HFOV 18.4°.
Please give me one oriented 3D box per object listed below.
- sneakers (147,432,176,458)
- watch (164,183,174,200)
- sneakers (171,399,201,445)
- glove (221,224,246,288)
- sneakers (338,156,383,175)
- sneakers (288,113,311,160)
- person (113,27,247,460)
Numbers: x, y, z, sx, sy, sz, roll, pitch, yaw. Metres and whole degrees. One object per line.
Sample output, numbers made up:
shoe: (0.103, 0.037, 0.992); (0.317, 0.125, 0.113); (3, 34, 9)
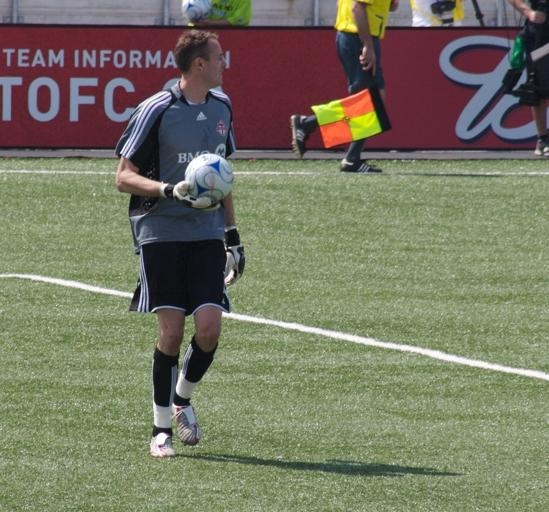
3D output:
sneakers: (-0.680, 1.140, 10.193); (0.156, 0.140, 0.167); (4, 6, -5)
watch: (-0.637, -0.371, 10.112); (0.064, 0.062, 0.076); (2, -19, 14)
sneakers: (-0.548, 1.038, 10.329); (0.101, 0.123, 0.286); (-6, 46, -27)
glove: (-0.264, 0.011, 10.615); (0.141, 0.361, 0.127); (-1, -5, 8)
sneakers: (0.812, -0.834, 15.961); (0.429, 0.197, 0.152); (2, 2, 2)
sneakers: (0.223, -1.109, 15.928); (0.190, 0.430, 0.137); (-2, 9, 2)
person: (-0.491, -0.037, 10.395); (0.764, 2.623, 0.848); (3, 3, 43)
